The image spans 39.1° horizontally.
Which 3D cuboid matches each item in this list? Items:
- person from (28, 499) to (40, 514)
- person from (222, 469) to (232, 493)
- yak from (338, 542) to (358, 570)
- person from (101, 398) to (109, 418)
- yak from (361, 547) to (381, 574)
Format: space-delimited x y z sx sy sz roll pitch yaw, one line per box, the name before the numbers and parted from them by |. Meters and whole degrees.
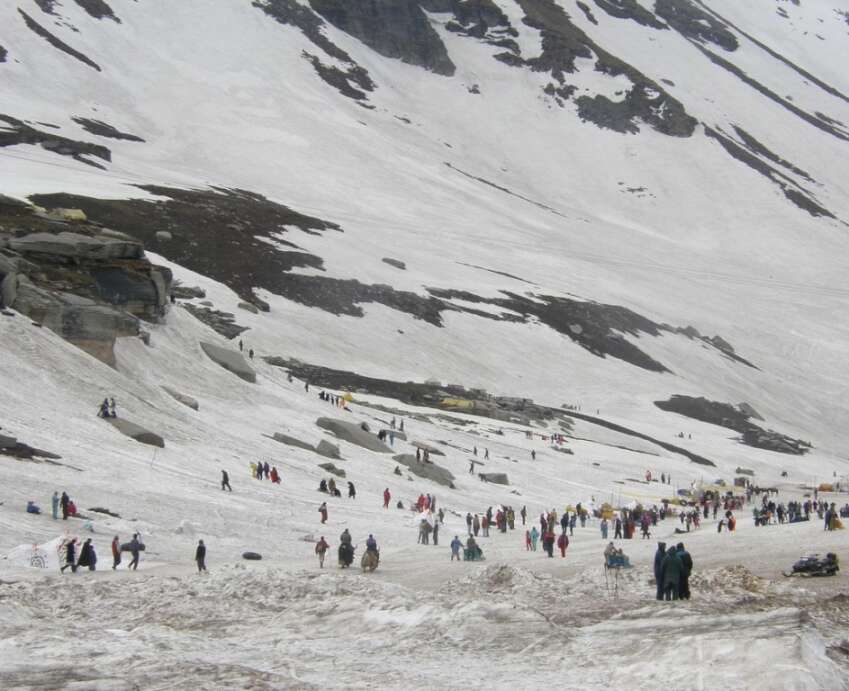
person | -17.264 7.222 52.768 0.634 0.570 0.839 6 -9 -15
person | -10.219 7.059 61.893 0.649 1.109 1.775 6 -9 -8
yak | -3.533 9.531 53.953 0.835 0.942 0.856 1 -6 -3
person | -17.590 3.505 65.843 0.514 1.119 1.354 7 -9 -14
yak | -2.411 9.607 53.197 0.680 0.954 0.593 6 -10 -11
